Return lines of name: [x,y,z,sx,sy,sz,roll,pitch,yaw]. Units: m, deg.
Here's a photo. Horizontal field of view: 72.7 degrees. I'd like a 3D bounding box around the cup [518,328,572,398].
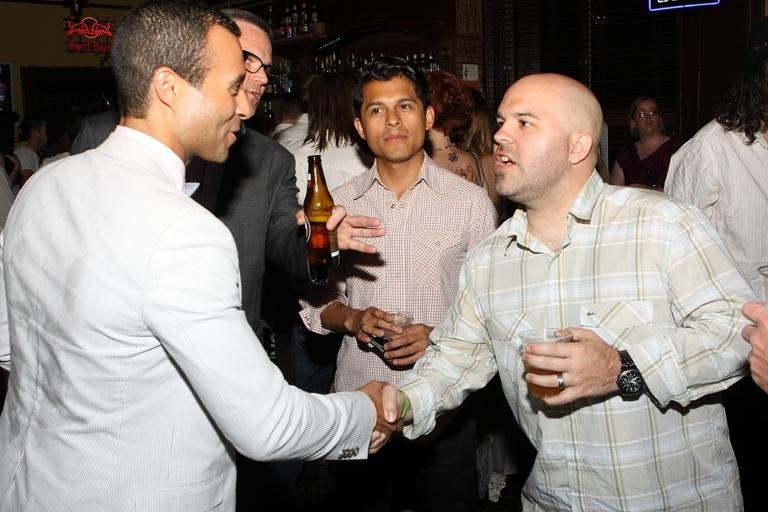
cup: [0.493,0.354,1.682,0.175,0.218,0.196,-1,0,12]
